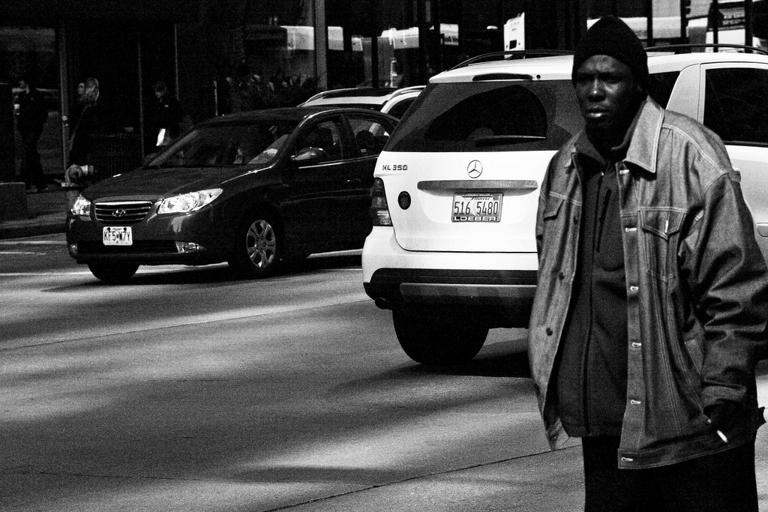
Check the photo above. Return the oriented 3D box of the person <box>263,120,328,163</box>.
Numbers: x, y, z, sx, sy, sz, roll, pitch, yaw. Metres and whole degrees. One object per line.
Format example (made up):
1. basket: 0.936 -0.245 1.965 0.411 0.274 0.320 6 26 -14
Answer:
1. person: -1.261 -1.823 13.986 0.983 0.500 0.561 6 -9 -44

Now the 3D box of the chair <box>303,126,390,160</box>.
1. chair: -0.574 -1.805 14.383 1.104 0.549 0.595 7 -9 -29

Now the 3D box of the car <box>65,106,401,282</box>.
1. car: -2.291 -1.028 14.016 4.744 2.541 1.800 -4 7 -26

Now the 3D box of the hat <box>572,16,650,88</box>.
1. hat: 0.807 -0.703 3.111 0.207 0.250 0.274 -1 -19 22
